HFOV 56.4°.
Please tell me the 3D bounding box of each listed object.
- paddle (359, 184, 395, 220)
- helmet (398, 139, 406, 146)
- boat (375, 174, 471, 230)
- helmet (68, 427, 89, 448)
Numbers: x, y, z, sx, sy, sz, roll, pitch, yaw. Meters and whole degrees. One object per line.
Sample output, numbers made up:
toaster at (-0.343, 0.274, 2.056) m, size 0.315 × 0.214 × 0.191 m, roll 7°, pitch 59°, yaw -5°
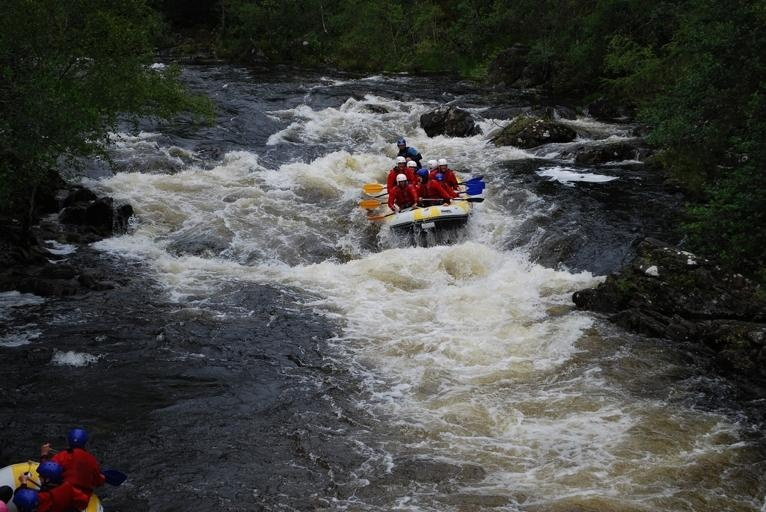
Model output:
paddle at (-0.178, -1.932, 25.434) m, size 0.459 × 0.601 × 2.048 m, roll 28°, pitch -4°, yaw -14°
helmet at (0.744, -4.316, 27.356) m, size 0.298 × 0.170 × 0.337 m, roll -2°, pitch 7°, yaw 1°
boat at (1.405, -1.702, 24.803) m, size 4.206 × 0.704 × 3.639 m, roll -7°, pitch 20°, yaw 4°
helmet at (-6.039, 3.549, 14.172) m, size 0.449 × 0.395 × 0.451 m, roll 6°, pitch 33°, yaw -16°
